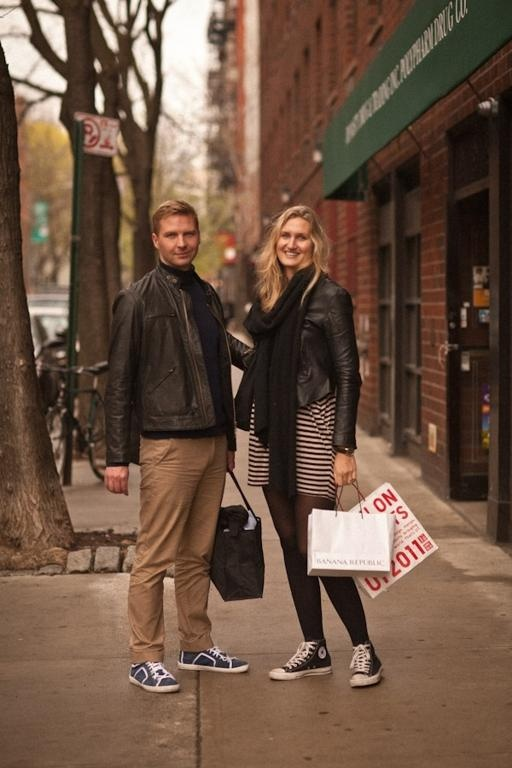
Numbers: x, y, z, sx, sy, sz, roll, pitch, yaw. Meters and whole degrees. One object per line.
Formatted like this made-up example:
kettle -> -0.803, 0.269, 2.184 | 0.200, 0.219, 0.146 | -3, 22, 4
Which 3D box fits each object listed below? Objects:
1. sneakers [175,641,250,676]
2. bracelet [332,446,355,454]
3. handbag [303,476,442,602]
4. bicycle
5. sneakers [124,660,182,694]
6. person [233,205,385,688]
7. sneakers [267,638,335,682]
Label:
sneakers -> -0.168, 1.093, 3.873 | 0.289, 0.145, 0.112 | 0, -5, 6
bracelet -> 0.325, 0.241, 3.523 | 0.072, 0.030, 0.134 | 0, 3, 5
handbag -> 0.501, 0.667, 4.011 | 0.466, 0.482, 0.173 | -34, 0, -19
bicycle -> -1.569, 0.339, 8.921 | 0.540, 0.915, 1.328 | -1, -5, 10
sneakers -> -0.376, 1.085, 3.596 | 0.078, 0.095, 0.209 | 1, -7, -36
person -> 0.158, 0.146, 3.670 | 0.319, 1.639, 0.589 | -3, 4, -33
sneakers -> 0.197, 1.081, 3.811 | 0.296, 0.214, 0.108 | -1, -1, -15
